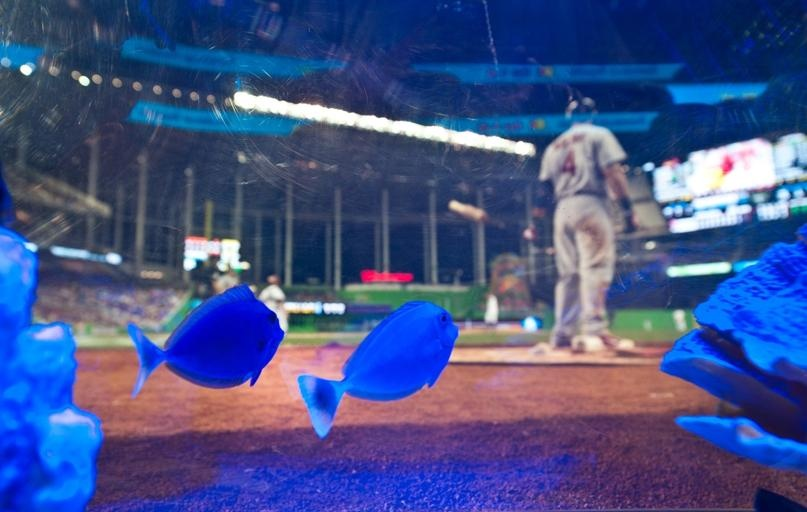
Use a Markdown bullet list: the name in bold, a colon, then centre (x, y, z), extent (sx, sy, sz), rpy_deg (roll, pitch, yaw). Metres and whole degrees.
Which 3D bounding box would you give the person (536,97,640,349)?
- **person**: centre (0.714, -0.076, 2.768), extent (0.365, 0.880, 0.127), rpy_deg (4, -5, -11)
